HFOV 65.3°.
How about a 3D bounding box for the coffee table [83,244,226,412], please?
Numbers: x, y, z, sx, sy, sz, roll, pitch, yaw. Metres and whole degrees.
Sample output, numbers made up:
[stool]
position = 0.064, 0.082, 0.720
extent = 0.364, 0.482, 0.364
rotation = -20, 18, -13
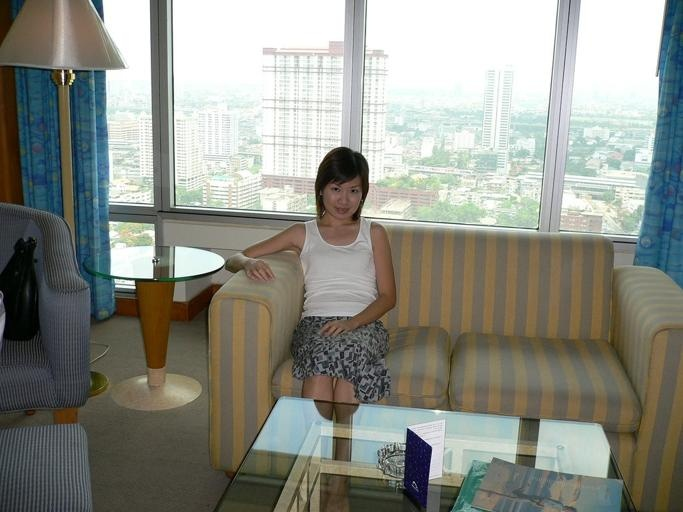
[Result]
[coffee table]
position = -1.067, 0.438, 3.057
extent = 0.580, 0.688, 0.645
rotation = 2, 5, 1
